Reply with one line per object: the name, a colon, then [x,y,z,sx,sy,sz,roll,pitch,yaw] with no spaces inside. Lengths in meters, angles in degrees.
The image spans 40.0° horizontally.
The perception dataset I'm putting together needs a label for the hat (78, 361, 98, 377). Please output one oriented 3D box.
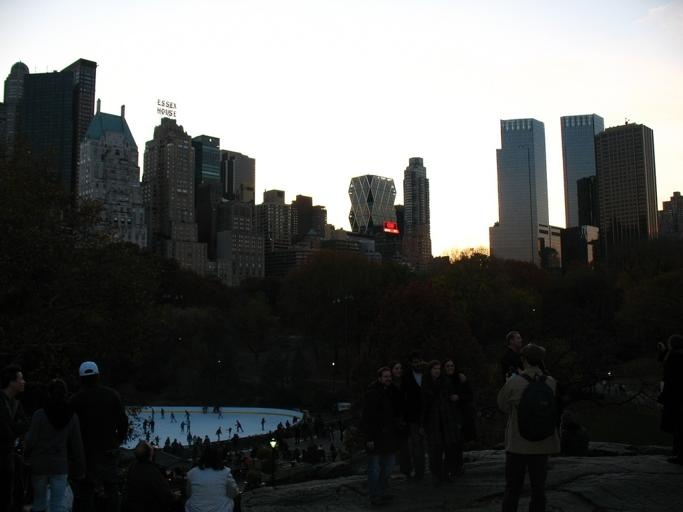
hat: [-9.703,4.342,36.116,0.718,0.575,1.159,6,-1,-12]
